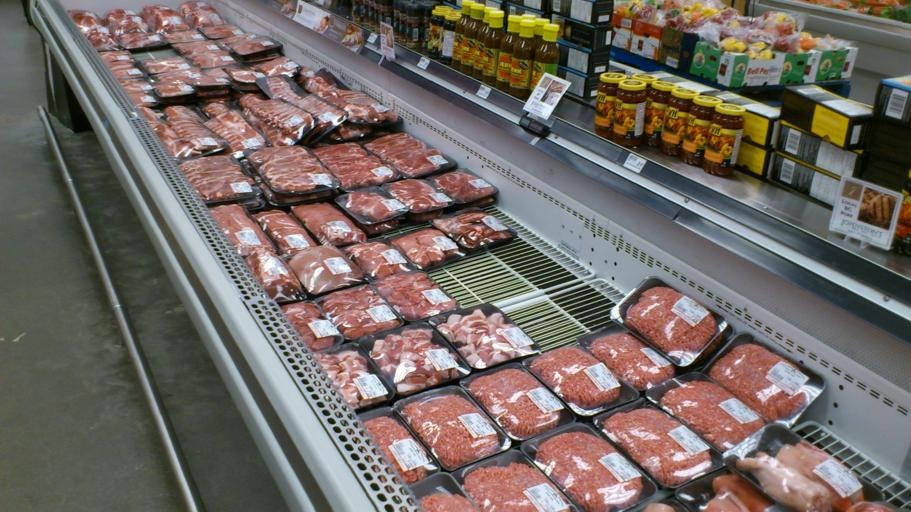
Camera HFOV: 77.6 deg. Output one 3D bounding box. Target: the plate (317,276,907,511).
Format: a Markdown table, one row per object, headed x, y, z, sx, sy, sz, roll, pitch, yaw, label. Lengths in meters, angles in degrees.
| x | y | z | sx | sy | sz | roll | pitch | yaw | label |
| --- | --- | --- | --- | --- | --- | --- | --- | --- | --- |
| 0.566 | 0.645 | 2.568 | 1.418 | 0.033 | 1.135 | -15 | 34 | -25 | plate |
